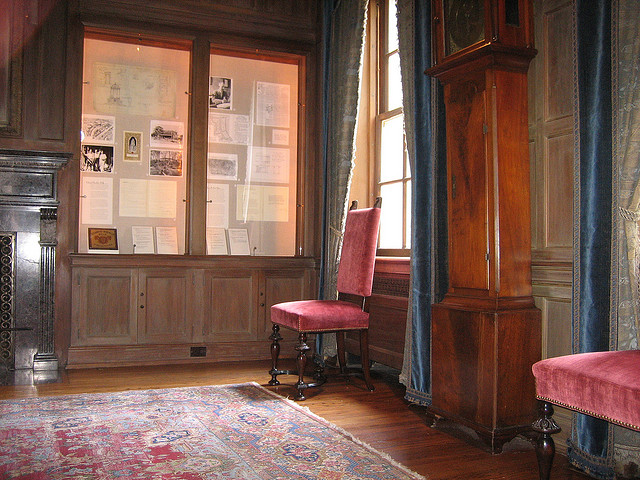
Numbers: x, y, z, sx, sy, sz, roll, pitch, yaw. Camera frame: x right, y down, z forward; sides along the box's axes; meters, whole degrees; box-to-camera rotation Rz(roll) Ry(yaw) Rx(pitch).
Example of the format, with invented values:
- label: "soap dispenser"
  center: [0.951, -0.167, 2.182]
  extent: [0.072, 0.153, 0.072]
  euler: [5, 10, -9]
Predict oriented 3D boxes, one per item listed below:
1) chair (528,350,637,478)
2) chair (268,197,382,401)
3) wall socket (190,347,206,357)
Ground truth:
- label: "chair"
  center: [1.180, 0.784, 2.187]
  extent: [0.260, 0.576, 0.458]
  euler: [1, -1, -28]
- label: "chair"
  center: [0.053, 0.435, 4.130]
  extent: [0.828, 1.578, 0.792]
  euler: [3, -2, -12]
- label: "wall socket"
  center: [-1.209, 1.113, 4.994]
  extent: [0.151, 0.097, 0.028]
  euler: [2, -1, -28]
